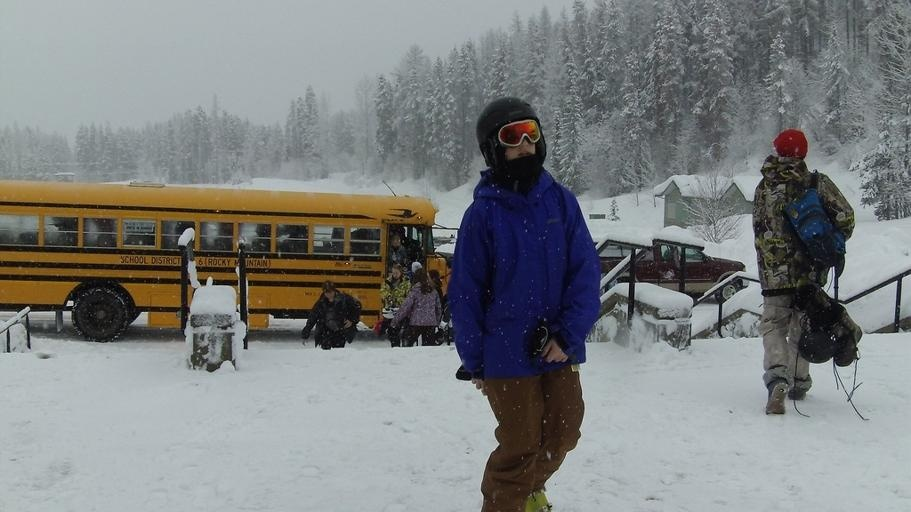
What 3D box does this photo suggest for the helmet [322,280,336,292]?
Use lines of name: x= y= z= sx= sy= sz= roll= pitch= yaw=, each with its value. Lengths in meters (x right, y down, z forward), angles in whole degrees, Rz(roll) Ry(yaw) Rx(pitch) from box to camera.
helmet: x=-4.519 y=1.078 z=33.855 sx=0.366 sy=0.395 sz=0.419 roll=3 pitch=-20 yaw=-12

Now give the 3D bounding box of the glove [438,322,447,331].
glove: x=-0.476 y=2.611 z=35.553 sx=0.230 sy=0.241 sz=0.286 roll=5 pitch=11 yaw=1

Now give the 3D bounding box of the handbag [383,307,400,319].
handbag: x=-2.336 y=2.046 z=34.393 sx=0.429 sy=0.248 sz=0.494 roll=2 pitch=-5 yaw=-43

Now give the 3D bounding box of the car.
car: x=8.523 y=0.515 z=39.761 sx=8.879 sy=3.743 sz=3.138 roll=-2 pitch=4 yaw=-6

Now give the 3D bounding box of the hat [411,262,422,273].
hat: x=-1.461 y=0.415 z=35.289 sx=0.403 sy=0.283 sz=0.411 roll=-4 pitch=-6 yaw=43
